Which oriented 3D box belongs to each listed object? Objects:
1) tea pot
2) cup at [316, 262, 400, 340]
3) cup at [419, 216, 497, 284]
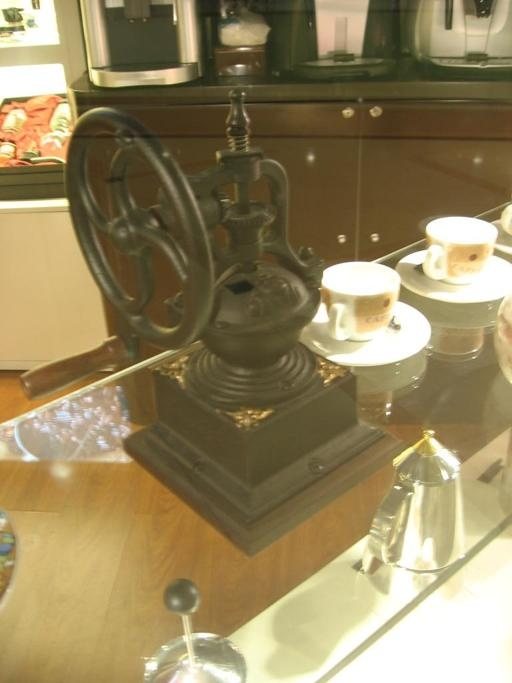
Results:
[{"bbox_3d":[0.108,0.103,0.413,0.090,0.084,0.057,-30,39,-32],"label":"tea pot"},{"bbox_3d":[0.083,-0.035,0.452,0.061,0.049,0.075,18,40,29],"label":"cup"},{"bbox_3d":[0.194,-0.090,0.536,0.073,0.047,0.058,-27,44,-29],"label":"cup"}]
